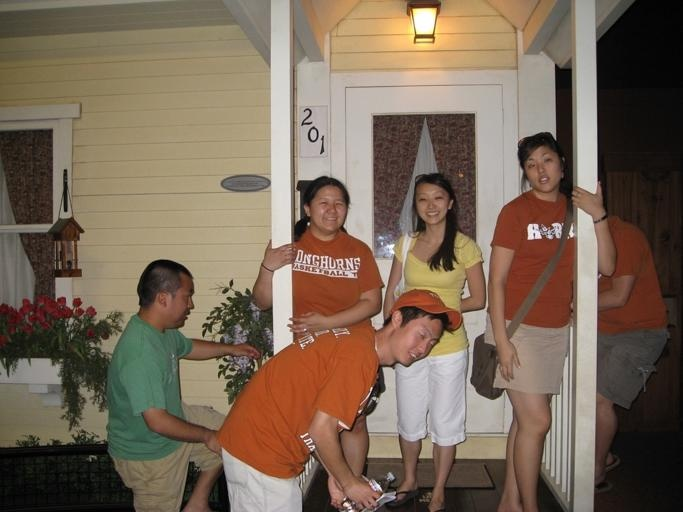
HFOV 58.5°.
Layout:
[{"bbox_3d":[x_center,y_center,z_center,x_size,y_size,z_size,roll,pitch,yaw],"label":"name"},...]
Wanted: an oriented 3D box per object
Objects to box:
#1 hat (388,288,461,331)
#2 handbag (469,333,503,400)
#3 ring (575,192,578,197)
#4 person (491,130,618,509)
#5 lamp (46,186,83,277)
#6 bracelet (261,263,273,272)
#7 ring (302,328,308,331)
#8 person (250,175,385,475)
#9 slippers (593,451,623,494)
[{"bbox_3d":[0.473,0.341,3.713,0.327,0.257,0.481,-5,-8,13],"label":"hat"},{"bbox_3d":[1.078,0.784,4.564,0.240,0.532,0.391,0,6,6],"label":"handbag"},{"bbox_3d":[1.582,-0.414,4.109,0.022,0.033,0.009,4,-6,28],"label":"ring"},{"bbox_3d":[1.425,0.504,4.329,0.784,2.744,0.383,1,2,11],"label":"person"},{"bbox_3d":[-2.624,-0.270,5.810,0.284,0.979,0.255,-1,-2,-39],"label":"lamp"},{"bbox_3d":[-0.516,0.088,4.222,0.072,0.019,0.060,22,-11,-12],"label":"bracelet"},{"bbox_3d":[-0.252,0.514,4.225,0.020,0.005,0.021,-6,21,2],"label":"ring"},{"bbox_3d":[-0.122,0.712,4.589,0.961,2.677,0.783,-2,10,2],"label":"person"},{"bbox_3d":[2.180,1.793,4.994,0.111,0.467,0.164,11,29,-8],"label":"slippers"}]
